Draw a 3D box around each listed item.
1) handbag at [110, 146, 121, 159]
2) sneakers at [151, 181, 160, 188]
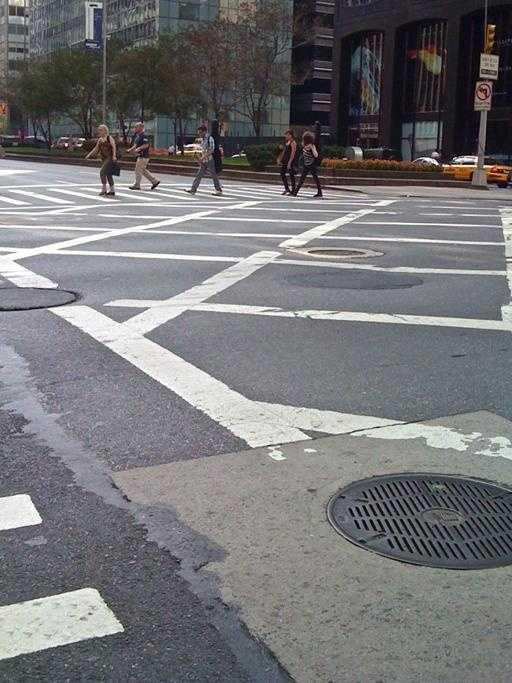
[{"bbox_3d":[-4.642,-6.260,22.519,0.334,0.636,0.452,-7,25,-12],"label":"handbag"},{"bbox_3d":[-3.974,-6.129,26.864,0.290,0.252,0.682,6,2,-12],"label":"sneakers"}]
